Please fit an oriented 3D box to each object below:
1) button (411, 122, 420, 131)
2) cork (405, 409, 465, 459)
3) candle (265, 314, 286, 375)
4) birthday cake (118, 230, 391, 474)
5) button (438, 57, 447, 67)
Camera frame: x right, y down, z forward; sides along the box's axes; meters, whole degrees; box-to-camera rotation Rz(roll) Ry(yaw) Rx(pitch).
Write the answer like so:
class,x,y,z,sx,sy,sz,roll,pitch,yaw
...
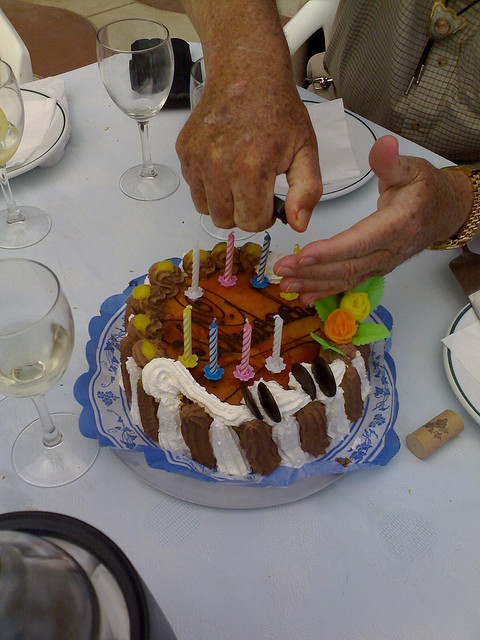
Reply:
class,x,y,z,sx,sy,sz,roll,pitch,yaw
button,0.720,-0.792,2.243,0.026,0.024,0.026,-20,73,3
cork,0.448,0.262,1.257,0.133,0.056,0.065,-23,28,-23
candle,0.089,0.060,1.351,0.057,0.137,0.056,3,18,-8
birthday cake,0.046,0.101,1.359,0.560,0.265,0.545,-3,48,-6
button,0.760,-0.967,2.053,0.035,0.035,0.008,6,5,22
